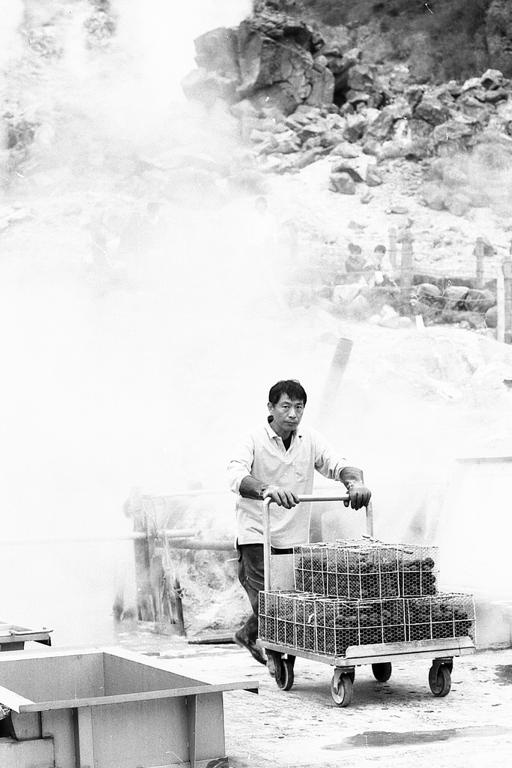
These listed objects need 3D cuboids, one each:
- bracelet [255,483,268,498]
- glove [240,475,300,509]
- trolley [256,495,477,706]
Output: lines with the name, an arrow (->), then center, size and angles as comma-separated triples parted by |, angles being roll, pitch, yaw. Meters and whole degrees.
bracelet -> 0.025, 0.474, 6.114 | 0.043, 0.051, 0.052 | 22, 10, -1
glove -> 0.047, 0.485, 6.163 | 0.101, 0.126, 0.379 | 21, -13, -39
trolley -> 0.469, 0.938, 6.237 | 0.775, 0.881, 0.797 | 0, -4, -18
